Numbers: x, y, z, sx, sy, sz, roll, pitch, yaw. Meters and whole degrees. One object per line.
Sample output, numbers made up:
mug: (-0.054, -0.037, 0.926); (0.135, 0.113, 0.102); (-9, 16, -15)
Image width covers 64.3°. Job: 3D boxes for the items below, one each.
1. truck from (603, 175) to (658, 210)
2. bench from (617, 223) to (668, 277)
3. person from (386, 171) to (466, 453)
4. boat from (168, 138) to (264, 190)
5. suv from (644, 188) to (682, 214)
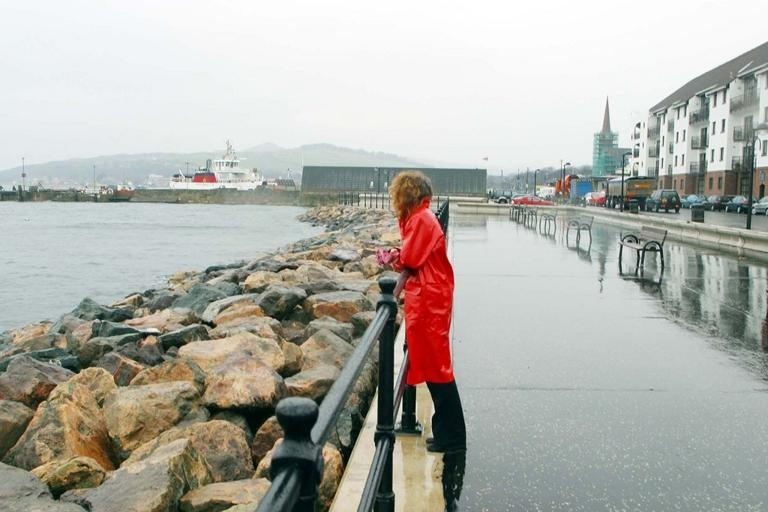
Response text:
truck: (22.510, -5.145, 53.617); (2.319, 2.892, 6.807); (3, 0, 20)
bench: (7.453, -0.150, 17.516); (0.588, 0.764, 1.686); (-4, 4, 4)
person: (0.392, 0.555, 5.887); (0.530, 2.679, 0.746); (-10, 14, -38)
boat: (-35.556, -17.546, 127.775); (21.880, 7.797, 17.517); (0, 12, 5)
suv: (21.671, -4.199, 47.161); (1.617, 1.438, 2.772); (0, 11, 8)
